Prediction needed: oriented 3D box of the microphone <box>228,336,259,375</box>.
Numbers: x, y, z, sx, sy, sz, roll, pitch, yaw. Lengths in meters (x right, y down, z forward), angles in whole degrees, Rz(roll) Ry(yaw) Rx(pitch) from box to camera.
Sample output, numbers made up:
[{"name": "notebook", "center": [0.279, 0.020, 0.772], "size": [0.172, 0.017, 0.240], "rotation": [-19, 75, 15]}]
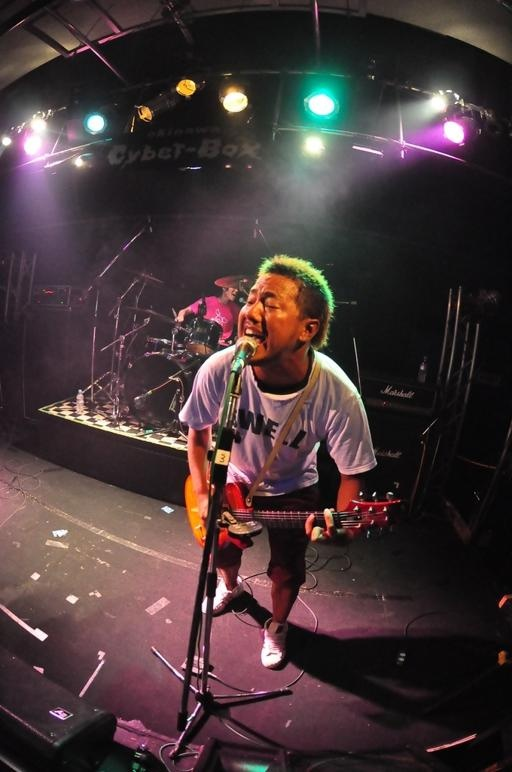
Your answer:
[{"name": "microphone", "center": [-0.051, -0.145, 2.724], "size": [0.085, 0.083, 0.204], "rotation": [4, 45, 22]}]

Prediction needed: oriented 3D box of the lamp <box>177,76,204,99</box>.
[{"name": "lamp", "center": [-0.547, -2.465, 4.889], "size": [0.229, 0.140, 0.102], "rotation": [7, 4, -7]}]

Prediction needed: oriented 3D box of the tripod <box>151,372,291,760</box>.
[{"name": "tripod", "center": [-0.118, 0.843, 3.124], "size": [0.708, 2.085, 0.951], "rotation": [7, 4, -7]}]

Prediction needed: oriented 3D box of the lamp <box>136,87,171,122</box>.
[{"name": "lamp", "center": [-0.890, -2.370, 4.962], "size": [0.371, 0.247, 0.151], "rotation": [10, 5, 29]}]

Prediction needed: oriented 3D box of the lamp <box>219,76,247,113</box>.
[{"name": "lamp", "center": [-0.176, -2.341, 4.743], "size": [0.184, 0.205, 0.197], "rotation": [14, 30, -9]}]

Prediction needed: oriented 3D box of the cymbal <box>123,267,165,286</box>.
[{"name": "cymbal", "center": [-1.312, -1.261, 6.776], "size": [0.331, 0.147, 0.559], "rotation": [9, 4, 24]}]

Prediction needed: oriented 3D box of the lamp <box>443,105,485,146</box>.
[{"name": "lamp", "center": [1.601, -2.030, 4.617], "size": [0.271, 0.269, 0.085], "rotation": [1, 7, 0]}]

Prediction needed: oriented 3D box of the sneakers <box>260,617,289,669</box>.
[{"name": "sneakers", "center": [0.108, 1.564, 3.581], "size": [0.147, 0.134, 0.310], "rotation": [1, 22, 9]}]

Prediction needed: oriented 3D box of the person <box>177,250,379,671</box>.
[{"name": "person", "center": [0.105, 0.553, 3.540], "size": [1.182, 2.486, 0.734], "rotation": [16, 22, 24]}]

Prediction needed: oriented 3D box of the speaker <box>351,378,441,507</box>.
[{"name": "speaker", "center": [1.324, 0.458, 5.504], "size": [0.744, 1.177, 0.609], "rotation": [21, 42, 38]}]
